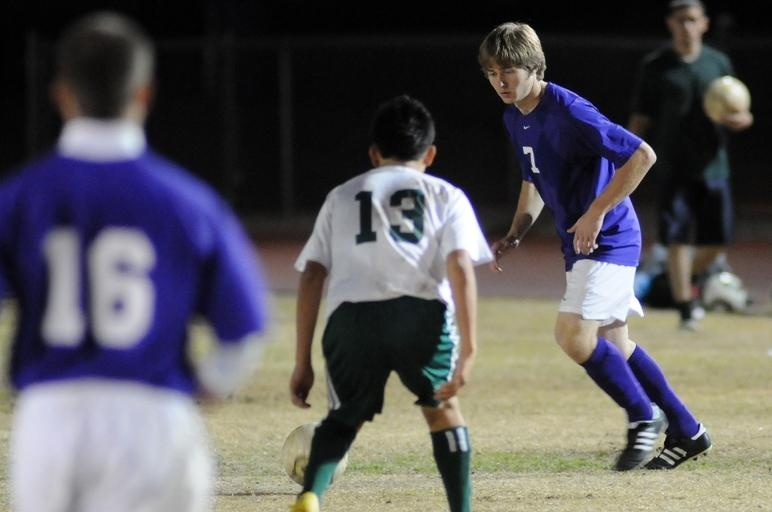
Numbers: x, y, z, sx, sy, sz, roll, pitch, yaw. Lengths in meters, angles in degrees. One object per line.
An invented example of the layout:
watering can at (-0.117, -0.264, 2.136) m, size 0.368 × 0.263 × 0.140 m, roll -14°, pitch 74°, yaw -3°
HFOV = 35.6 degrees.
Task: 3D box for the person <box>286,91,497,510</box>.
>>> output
person at (0.033, 0.230, 6.223) m, size 1.042 × 2.084 × 0.504 m, roll 1°, pitch 6°, yaw -6°

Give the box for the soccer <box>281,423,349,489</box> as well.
soccer at (-0.399, 1.177, 6.748) m, size 0.425 × 0.319 × 0.442 m, roll -2°, pitch -12°, yaw 5°

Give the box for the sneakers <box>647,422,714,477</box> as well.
sneakers at (1.806, 1.202, 7.452) m, size 0.508 × 0.221 × 0.175 m, roll -21°, pitch 5°, yaw -3°

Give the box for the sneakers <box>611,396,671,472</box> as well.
sneakers at (1.558, 1.112, 7.435) m, size 0.195 × 0.546 × 0.226 m, roll 28°, pitch 0°, yaw 44°

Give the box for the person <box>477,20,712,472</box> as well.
person at (1.243, -0.042, 7.280) m, size 1.356 × 2.685 × 0.702 m, roll 3°, pitch 6°, yaw 14°

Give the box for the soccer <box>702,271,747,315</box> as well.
soccer at (3.399, 0.368, 12.090) m, size 0.464 × 0.370 × 0.324 m, roll 7°, pitch 15°, yaw 18°
